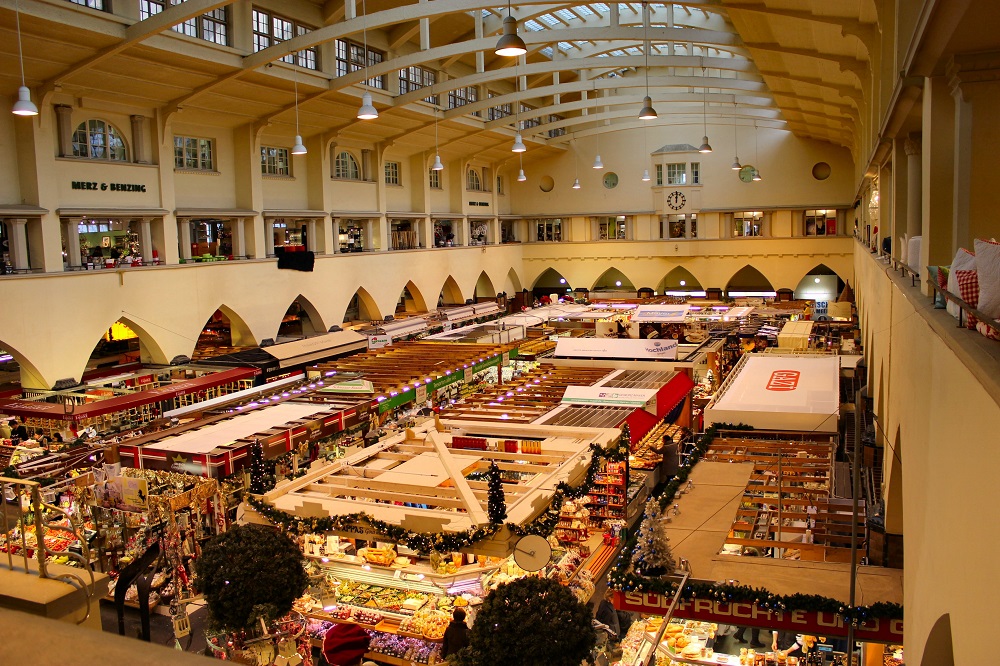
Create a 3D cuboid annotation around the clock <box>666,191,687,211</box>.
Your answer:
[{"bbox_3d":[9.140,-6.866,35.341,0.979,1.088,0.172,0,4,13],"label":"clock"}]
